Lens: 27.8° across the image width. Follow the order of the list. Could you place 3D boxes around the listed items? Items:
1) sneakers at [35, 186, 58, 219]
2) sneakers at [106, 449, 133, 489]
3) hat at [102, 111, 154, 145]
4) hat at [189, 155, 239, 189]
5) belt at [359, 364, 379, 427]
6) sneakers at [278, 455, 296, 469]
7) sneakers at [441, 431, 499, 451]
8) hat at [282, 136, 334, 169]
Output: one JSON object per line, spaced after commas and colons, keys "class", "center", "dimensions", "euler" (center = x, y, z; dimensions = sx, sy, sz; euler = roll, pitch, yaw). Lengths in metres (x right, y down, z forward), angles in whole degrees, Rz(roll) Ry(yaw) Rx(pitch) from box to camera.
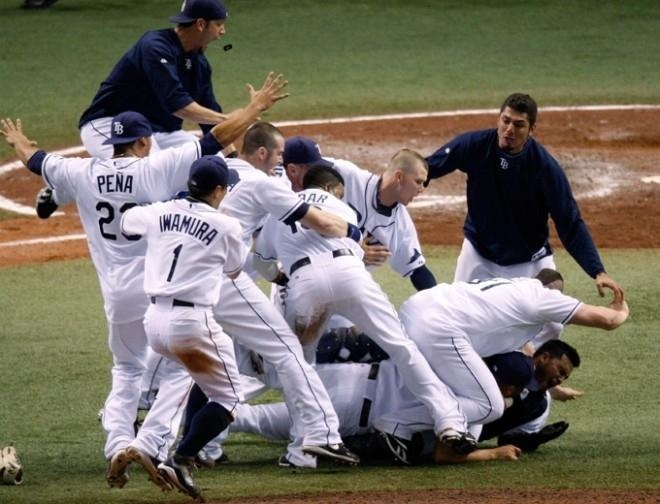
{"class": "sneakers", "center": [-2.740, -0.500, 13.028], "dimensions": [0.222, 0.306, 0.140], "euler": [8, -29, 3]}
{"class": "sneakers", "center": [-1.906, 1.934, 11.968], "dimensions": [0.223, 0.347, 0.159], "euler": [-2, 12, -37]}
{"class": "hat", "center": [-1.902, -1.166, 12.575], "dimensions": [0.412, 0.275, 0.589], "euler": [12, 20, 39]}
{"class": "hat", "center": [-1.079, -0.734, 12.194], "dimensions": [0.346, 0.235, 0.491], "euler": [26, 25, 34]}
{"class": "belt", "center": [0.359, 1.359, 12.642], "dimensions": [0.128, 0.546, 0.294], "euler": [2, 15, 26]}
{"class": "sneakers", "center": [-0.417, 1.941, 12.386], "dimensions": [0.189, 0.069, 0.080], "euler": [12, 14, 34]}
{"class": "sneakers", "center": [1.238, 1.755, 12.300], "dimensions": [0.434, 0.135, 0.174], "euler": [6, 43, -15]}
{"class": "hat", "center": [-0.249, -0.975, 13.072], "dimensions": [0.389, 0.180, 0.243], "euler": [3, 31, 6]}
